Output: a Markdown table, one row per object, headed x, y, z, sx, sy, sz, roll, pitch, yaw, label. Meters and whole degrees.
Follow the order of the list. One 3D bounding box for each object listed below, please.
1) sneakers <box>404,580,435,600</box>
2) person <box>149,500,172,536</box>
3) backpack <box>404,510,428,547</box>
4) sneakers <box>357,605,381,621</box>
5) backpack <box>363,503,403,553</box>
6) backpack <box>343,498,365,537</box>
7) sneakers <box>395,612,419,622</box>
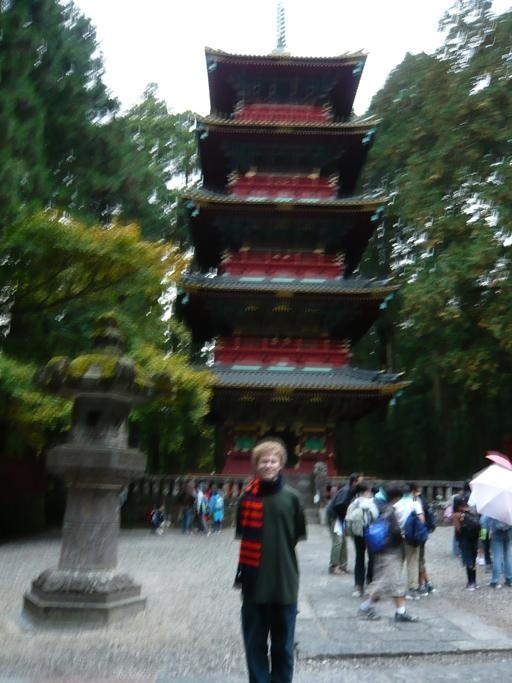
| x | y | z | sx | sy | sz | roll | pitch | yaw | label |
| --- | --- | --- | --- | --- | --- | --- | --- | --- | --- |
| 1.622 | 2.471 | 5.744 | 0.363 | 0.147 | 0.124 | 2 | -12 | -31 | sneakers |
| -2.152 | 4.094 | 13.115 | 0.393 | 0.434 | 0.743 | -1 | -35 | -4 | person |
| 1.542 | 1.815 | 5.607 | 0.194 | 0.329 | 0.256 | -4 | -16 | 18 | backpack |
| 0.917 | 2.202 | 4.696 | 0.170 | 0.095 | 0.160 | -2 | -14 | 8 | sneakers |
| 0.997 | 1.470 | 4.490 | 0.269 | 0.375 | 0.226 | -2 | -15 | 10 | backpack |
| 0.952 | 1.707 | 5.608 | 0.153 | 0.338 | 0.260 | 4 | -15 | -13 | backpack |
| 1.161 | 2.156 | 4.507 | 0.214 | 0.081 | 0.067 | -1 | 10 | -1 | sneakers |
